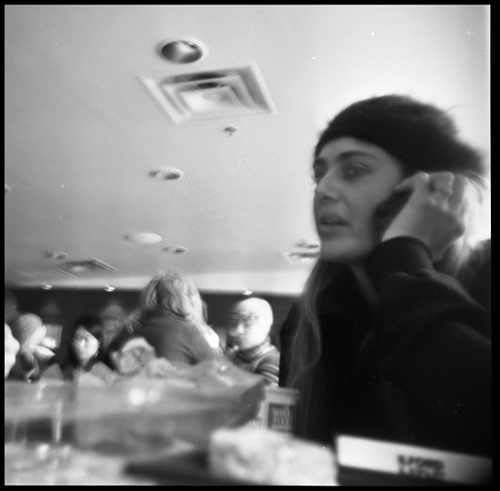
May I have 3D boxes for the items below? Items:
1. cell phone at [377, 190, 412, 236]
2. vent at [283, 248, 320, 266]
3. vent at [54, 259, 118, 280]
[{"bbox_3d":[0.592,-0.150,1.982,0.062,0.181,0.136,34,9,-9],"label":"cell phone"},{"bbox_3d":[0.226,0.054,2.029,0.178,0.049,0.062,1,-35,-2],"label":"vent"},{"bbox_3d":[-0.764,0.112,2.137,0.311,0.089,0.016,4,0,12],"label":"vent"}]
